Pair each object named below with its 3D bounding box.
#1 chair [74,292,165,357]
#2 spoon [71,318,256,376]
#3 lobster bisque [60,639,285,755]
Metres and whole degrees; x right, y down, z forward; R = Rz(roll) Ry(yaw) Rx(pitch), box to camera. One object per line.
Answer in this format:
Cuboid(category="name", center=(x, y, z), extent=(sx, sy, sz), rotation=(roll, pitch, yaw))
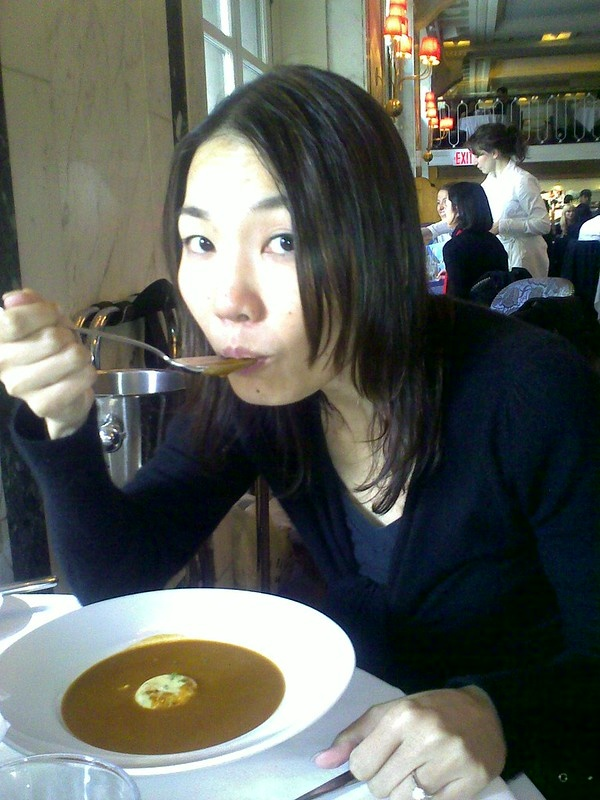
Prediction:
Cuboid(category="chair", center=(-0.519, -0.175, 2.077), extent=(0.246, 0.237, 0.180), rotation=(5, -11, -23))
Cuboid(category="spoon", center=(-0.179, -0.057, 0.920), extent=(0.249, 0.030, 0.034), rotation=(10, -5, 14))
Cuboid(category="lobster bisque", center=(-0.119, 0.272, 0.661), extent=(0.205, 0.014, 0.188), rotation=(-1, 10, 7))
